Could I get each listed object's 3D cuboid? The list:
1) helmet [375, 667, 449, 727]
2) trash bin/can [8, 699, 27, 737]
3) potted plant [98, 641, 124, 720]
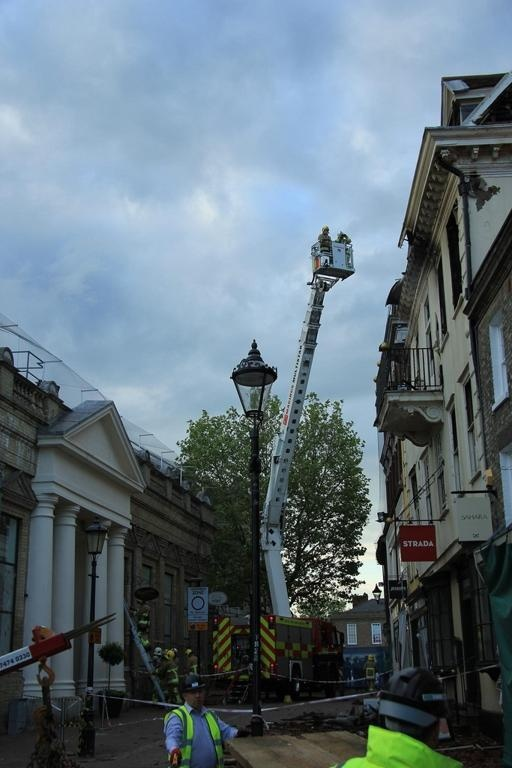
[{"bbox_3d":[0.427,0.862,2.292,0.170,0.210,0.220,-4,-21,24],"label":"helmet"},{"bbox_3d":[-5.037,7.041,18.101,0.316,0.831,0.502,-5,-19,9],"label":"trash bin/can"},{"bbox_3d":[-3.734,7.719,22.453,0.700,1.859,0.624,7,-11,-22],"label":"potted plant"}]
